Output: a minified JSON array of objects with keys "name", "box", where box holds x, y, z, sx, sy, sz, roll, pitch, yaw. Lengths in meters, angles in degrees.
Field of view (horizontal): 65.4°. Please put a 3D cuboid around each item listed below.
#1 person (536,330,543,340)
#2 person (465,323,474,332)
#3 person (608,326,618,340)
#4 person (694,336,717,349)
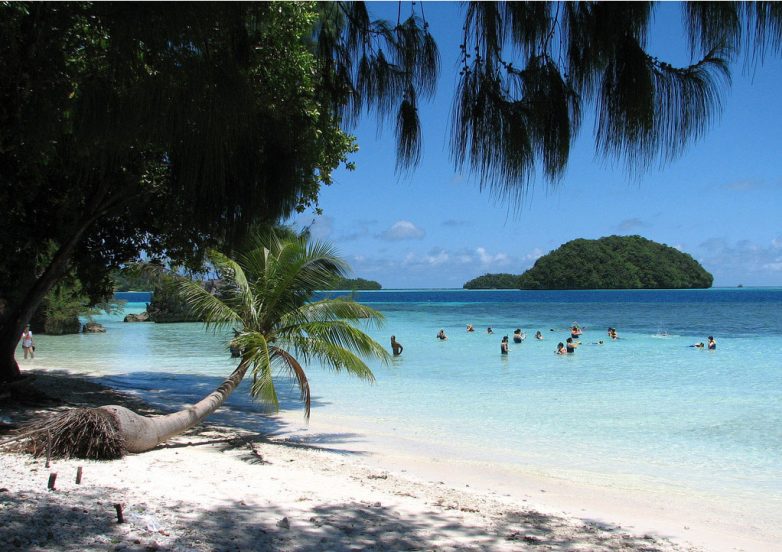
[{"name":"person","box":[11.424,4.445,46.625,0.717,0.537,1.289,-3,-13,8]},{"name":"person","box":[7.292,4.841,56.591,0.693,0.413,0.931,-4,-14,9]},{"name":"person","box":[18.346,4.702,50.209,0.714,0.866,1.437,3,5,9]},{"name":"person","box":[23.105,4.884,44.540,0.814,1.074,1.995,3,0,-5]}]
